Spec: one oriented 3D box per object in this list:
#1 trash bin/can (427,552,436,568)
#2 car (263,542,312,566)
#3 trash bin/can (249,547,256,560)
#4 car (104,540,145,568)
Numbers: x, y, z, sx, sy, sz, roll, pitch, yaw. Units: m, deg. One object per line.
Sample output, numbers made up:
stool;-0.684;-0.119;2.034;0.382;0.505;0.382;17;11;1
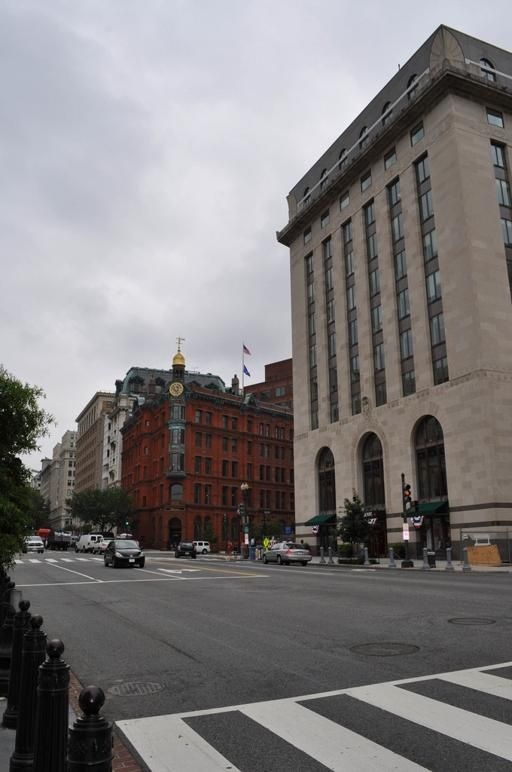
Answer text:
trash bin/can;8.795;8.675;30.198;0.351;0.713;1.064;-4;-13;11
car;2.015;10.469;37.819;1.345;1.094;3.225;7;-16;-22
trash bin/can;-0.245;13.194;47.511;0.501;0.848;0.938;-1;-13;-3
car;-7.338;9.196;33.308;1.322;1.068;2.253;7;-27;-20
